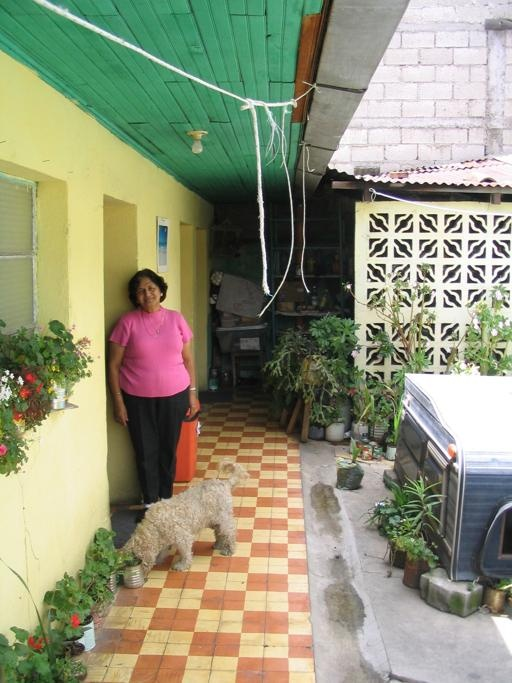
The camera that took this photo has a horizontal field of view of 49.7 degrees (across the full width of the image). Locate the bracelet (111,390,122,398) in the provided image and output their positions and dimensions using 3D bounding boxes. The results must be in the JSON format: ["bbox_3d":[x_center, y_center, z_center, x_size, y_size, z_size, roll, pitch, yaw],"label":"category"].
[{"bbox_3d":[-1.072,0.403,4.274,0.060,0.056,0.058,1,4,8],"label":"bracelet"}]

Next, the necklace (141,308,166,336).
[{"bbox_3d":[-0.784,-0.155,4.264,0.147,0.196,0.050,0,-11,-18],"label":"necklace"}]

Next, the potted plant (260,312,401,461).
[{"bbox_3d":[0.879,0.444,6.396,1.589,1.443,0.974,2,8,14],"label":"potted plant"}]

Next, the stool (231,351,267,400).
[{"bbox_3d":[-0.154,0.545,9.286,0.681,0.880,0.661,0,-2,-1],"label":"stool"}]

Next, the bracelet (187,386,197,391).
[{"bbox_3d":[-0.540,0.409,4.803,0.040,0.036,0.039,-1,3,-29],"label":"bracelet"}]

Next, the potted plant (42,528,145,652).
[{"bbox_3d":[-0.907,1.397,3.063,0.437,0.226,0.677,12,20,-16],"label":"potted plant"}]

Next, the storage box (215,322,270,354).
[{"bbox_3d":[-0.210,-0.053,8.811,0.648,0.320,0.461,-2,1,-6],"label":"storage box"}]

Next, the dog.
[{"bbox_3d":[-0.488,1.241,3.796,1.007,0.525,0.367,-9,10,-36],"label":"dog"}]
